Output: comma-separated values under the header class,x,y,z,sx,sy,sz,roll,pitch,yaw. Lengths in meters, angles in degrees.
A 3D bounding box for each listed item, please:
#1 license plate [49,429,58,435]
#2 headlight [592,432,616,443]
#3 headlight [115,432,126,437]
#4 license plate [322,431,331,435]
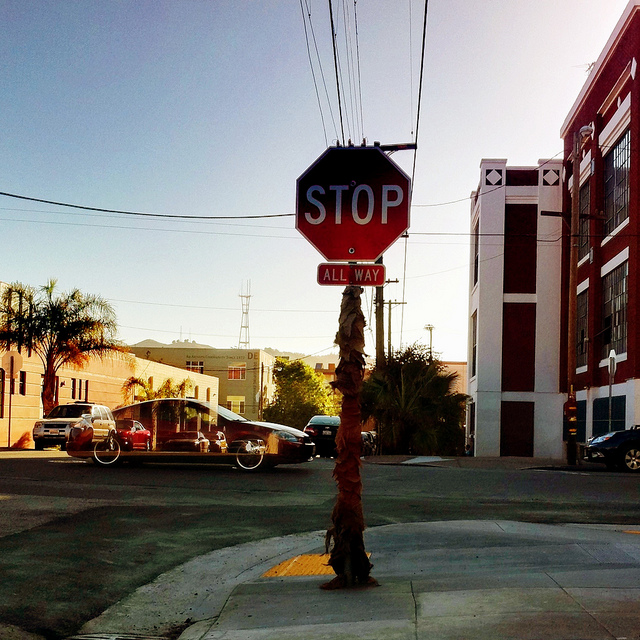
class,x,y,z,sx,sy,sz,roll,pitch,yaw
license plate,-9.413,3.888,25.599,0.186,0.212,0.055,4,-10,-1
headlight,6.979,2.849,17.912,0.260,0.121,0.380,-26,-9,41
headlight,-4.025,2.267,14.671,0.091,0.056,0.134,-2,7,2
license plate,0.201,3.481,22.831,0.265,0.099,0.129,0,-9,6
